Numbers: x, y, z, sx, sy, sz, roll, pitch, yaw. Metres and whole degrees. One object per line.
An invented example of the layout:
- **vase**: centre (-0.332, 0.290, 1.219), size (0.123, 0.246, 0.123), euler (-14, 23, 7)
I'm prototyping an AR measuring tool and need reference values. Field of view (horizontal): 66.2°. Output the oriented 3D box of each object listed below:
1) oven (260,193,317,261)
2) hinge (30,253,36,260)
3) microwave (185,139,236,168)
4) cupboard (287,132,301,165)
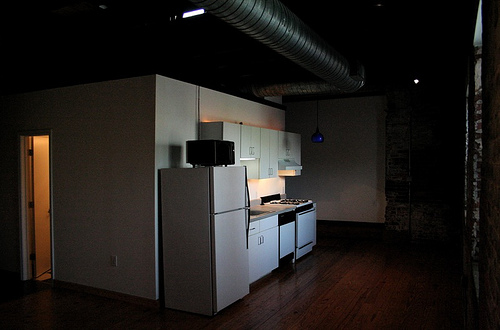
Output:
- **oven**: centre (0.857, 1.234, 7.896), size (0.701, 1.247, 1.240), euler (-3, 0, 31)
- **hinge**: centre (-3.768, 1.588, 6.624), size (0.085, 0.098, 0.086), euler (-2, 0, 8)
- **microwave**: centre (-0.653, -0.198, 5.939), size (0.541, 0.472, 0.779), euler (-2, -3, 6)
- **cupboard**: centre (0.918, -0.332, 8.192), size (0.366, 0.704, 0.674), euler (1, -3, 14)
